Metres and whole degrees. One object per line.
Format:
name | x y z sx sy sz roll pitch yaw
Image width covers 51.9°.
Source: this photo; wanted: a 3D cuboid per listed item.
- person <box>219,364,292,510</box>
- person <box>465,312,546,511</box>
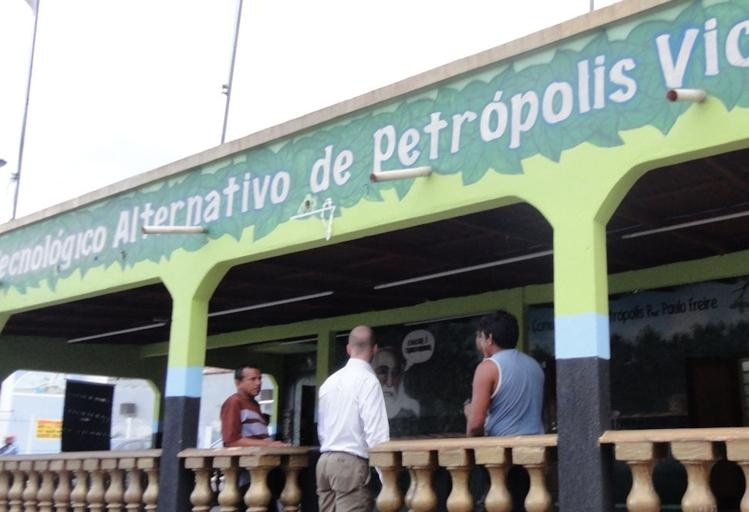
person | -1.186 1.765 7.482 0.614 1.401 0.663 2 -16 -11
person | 1.052 0.944 6.244 0.657 1.030 0.461 -2 -16 2
